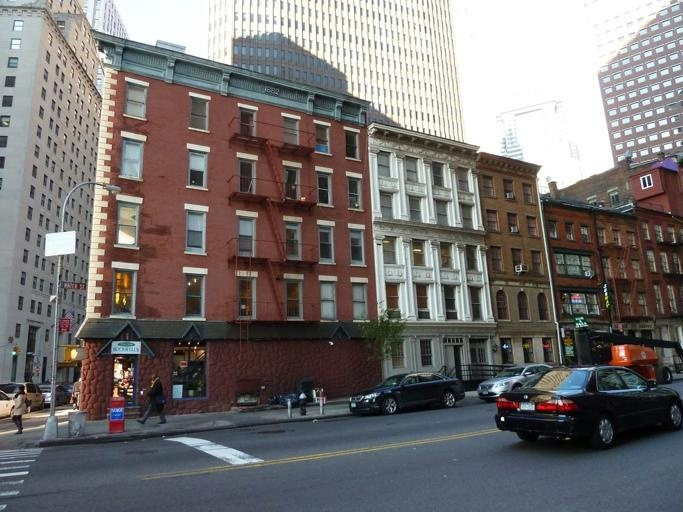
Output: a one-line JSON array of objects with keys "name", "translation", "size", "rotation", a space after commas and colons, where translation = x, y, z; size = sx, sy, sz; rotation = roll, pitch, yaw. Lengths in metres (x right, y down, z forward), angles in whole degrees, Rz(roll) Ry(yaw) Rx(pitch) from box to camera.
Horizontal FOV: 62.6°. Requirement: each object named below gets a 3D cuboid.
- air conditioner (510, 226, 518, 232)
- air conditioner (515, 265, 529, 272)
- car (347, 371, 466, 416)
[{"name": "air conditioner", "translation": [13.697, -2.085, 44.461], "size": [0.820, 0.634, 0.304], "rotation": [0, -8, -36]}, {"name": "air conditioner", "translation": [13.800, 1.061, 42.952], "size": [1.043, 0.572, 0.569], "rotation": [7, -16, -42]}, {"name": "car", "translation": [3.249, 6.521, 26.451], "size": [5.161, 1.284, 1.997], "rotation": [7, -19, -27]}]
